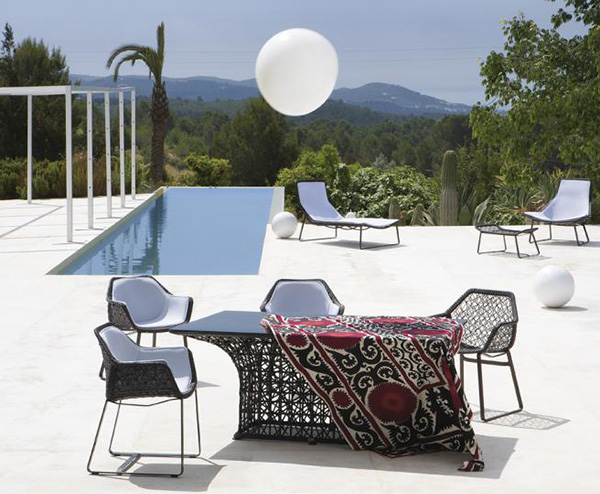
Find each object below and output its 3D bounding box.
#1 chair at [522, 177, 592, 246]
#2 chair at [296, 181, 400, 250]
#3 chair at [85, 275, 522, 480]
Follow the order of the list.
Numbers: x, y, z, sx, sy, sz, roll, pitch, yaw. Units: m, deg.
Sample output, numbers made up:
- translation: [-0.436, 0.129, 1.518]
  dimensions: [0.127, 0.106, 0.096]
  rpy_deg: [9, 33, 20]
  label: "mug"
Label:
- translation: [4.125, -0.649, 10.930]
  dimensions: [1.068, 1.141, 1.055]
  rpy_deg: [4, 5, 39]
  label: "chair"
- translation: [0.708, -0.565, 11.059]
  dimensions: [0.930, 1.179, 1.592]
  rpy_deg: [-7, 6, -43]
  label: "chair"
- translation: [0.188, 0.778, 4.239]
  dimensions: [2.447, 1.000, 1.256]
  rpy_deg: [3, 5, 7]
  label: "chair"
